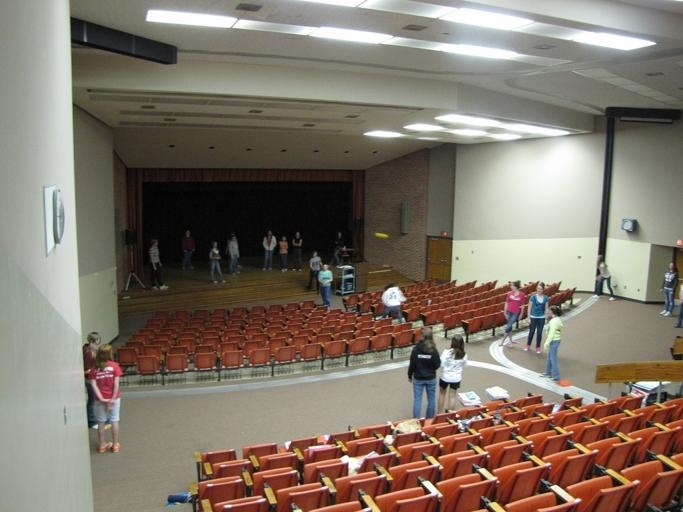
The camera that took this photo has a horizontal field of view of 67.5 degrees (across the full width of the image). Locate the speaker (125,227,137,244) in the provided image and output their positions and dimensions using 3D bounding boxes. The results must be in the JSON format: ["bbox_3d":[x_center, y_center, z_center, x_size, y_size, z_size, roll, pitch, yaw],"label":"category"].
[{"bbox_3d":[-7.648,-0.678,18.765,0.521,0.562,0.510,0,3,-3],"label":"speaker"}]

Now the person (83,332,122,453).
[{"bbox_3d":[-3.640,2.140,7.936,0.461,1.645,0.919,-6,10,-28],"label":"person"}]

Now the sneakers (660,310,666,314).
[{"bbox_3d":[9.762,1.729,15.505,0.118,0.142,0.348,4,10,29],"label":"sneakers"}]

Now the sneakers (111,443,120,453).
[{"bbox_3d":[-3.431,2.928,7.790,0.087,0.070,0.165,0,14,-18],"label":"sneakers"}]

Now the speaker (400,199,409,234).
[{"bbox_3d":[2.944,-1.755,23.708,0.235,1.625,0.569,-5,10,-24],"label":"speaker"}]

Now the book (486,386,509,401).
[{"bbox_3d":[2.921,2.556,9.493,0.238,0.074,0.236,-1,11,-20],"label":"book"}]

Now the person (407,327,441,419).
[{"bbox_3d":[1.409,2.023,8.599,0.565,1.647,0.513,2,11,12],"label":"person"}]

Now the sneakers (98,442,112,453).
[{"bbox_3d":[-3.586,2.914,7.837,0.092,0.098,0.234,3,10,13],"label":"sneakers"}]

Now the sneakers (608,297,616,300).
[{"bbox_3d":[9.326,1.488,17.619,0.294,0.113,0.101,-1,-2,-39],"label":"sneakers"}]

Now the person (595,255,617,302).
[{"bbox_3d":[9.235,0.740,17.813,0.603,1.434,1.045,1,9,15],"label":"person"}]
